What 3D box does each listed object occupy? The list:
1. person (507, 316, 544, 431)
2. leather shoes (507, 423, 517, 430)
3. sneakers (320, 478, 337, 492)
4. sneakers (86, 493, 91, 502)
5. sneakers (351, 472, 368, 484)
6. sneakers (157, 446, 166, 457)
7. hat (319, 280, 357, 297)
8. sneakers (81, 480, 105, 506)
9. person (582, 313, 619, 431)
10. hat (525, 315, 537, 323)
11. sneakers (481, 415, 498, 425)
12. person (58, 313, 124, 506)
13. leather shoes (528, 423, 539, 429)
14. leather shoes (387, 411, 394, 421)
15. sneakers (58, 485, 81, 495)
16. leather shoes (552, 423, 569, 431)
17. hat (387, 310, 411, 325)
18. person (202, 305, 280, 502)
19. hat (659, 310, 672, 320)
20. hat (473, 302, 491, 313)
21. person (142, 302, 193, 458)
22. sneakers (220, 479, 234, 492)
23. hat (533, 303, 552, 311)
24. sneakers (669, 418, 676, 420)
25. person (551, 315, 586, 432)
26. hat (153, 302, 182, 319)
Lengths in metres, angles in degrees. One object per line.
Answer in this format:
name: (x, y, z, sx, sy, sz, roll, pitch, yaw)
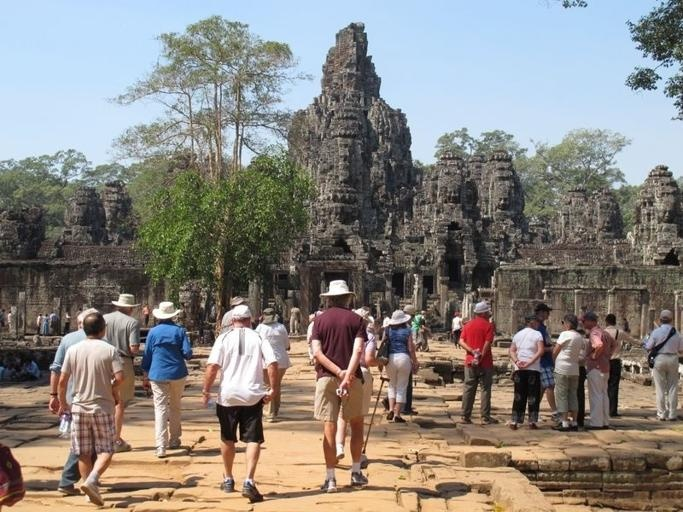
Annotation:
person: (3.839, 2.412, 24.060, 0.695, 2.341, 0.340, 0, -4, 7)
leather shoes: (3.538, 3.521, 23.997, 0.135, 0.129, 0.147, 5, -8, -32)
sneakers: (-0.216, 4.170, 21.100, 0.188, 0.177, 0.474, 1, -12, -7)
sneakers: (-4.527, 4.345, 20.813, 0.082, 0.093, 0.245, 4, -28, -5)
sneakers: (0.343, 4.084, 21.364, 0.337, 0.274, 0.187, 2, -5, -19)
sneakers: (-3.449, 3.779, 22.384, 0.205, 0.221, 0.178, 2, -4, -12)
hat: (-0.065, 0.853, 30.275, 0.790, 0.282, 0.796, -2, -9, 2)
sneakers: (-4.401, 4.190, 20.659, 0.254, 0.280, 0.643, -15, -48, 10)
person: (5.365, 2.380, 24.347, 0.530, 2.420, 0.624, -1, -5, 26)
hat: (3.911, 1.309, 24.274, 0.210, 0.148, 0.200, -2, -42, -44)
sneakers: (3.166, 3.472, 24.523, 0.425, 0.162, 0.145, -4, 10, -25)
person: (-4.506, 2.743, 20.980, 1.103, 3.438, 0.647, 1, -4, -8)
leather shoes: (3.993, 3.525, 24.060, 0.205, 0.126, 0.104, 0, -10, 5)
leather shoes: (1.059, 3.420, 24.881, 0.147, 0.171, 0.182, -1, 5, 1)
sneakers: (-4.935, 4.261, 21.202, 0.446, 0.179, 0.153, 2, 9, -8)
leather shoes: (4.545, 3.546, 24.082, 0.144, 0.128, 0.347, 1, 1, -17)
hat: (1.179, 1.290, 24.288, 0.369, 0.298, 0.556, -1, -5, 16)
person: (-1.818, 2.655, 21.123, 1.270, 3.511, 0.729, 1, -4, -3)
hat: (7.030, 1.336, 25.138, 0.284, 0.182, 0.399, 2, 14, 12)
hat: (2.935, 1.096, 24.245, 0.302, 0.125, 0.340, -2, 4, 7)
person: (-3.411, 2.408, 22.706, 0.938, 2.984, 0.578, 1, -4, -9)
sneakers: (-2.039, 4.154, 21.073, 0.243, 0.237, 0.175, 1, -4, -7)
hat: (4.286, 1.095, 24.523, 0.260, 0.090, 0.180, 4, -1, -37)
sneakers: (7.110, 3.504, 24.875, 0.188, 0.054, 0.062, 2, -5, -22)
person: (4.732, 2.410, 24.061, 0.647, 2.383, 0.706, 0, -4, 11)
hat: (-3.475, 1.119, 23.310, 0.697, 0.261, 0.733, 1, 2, 0)
